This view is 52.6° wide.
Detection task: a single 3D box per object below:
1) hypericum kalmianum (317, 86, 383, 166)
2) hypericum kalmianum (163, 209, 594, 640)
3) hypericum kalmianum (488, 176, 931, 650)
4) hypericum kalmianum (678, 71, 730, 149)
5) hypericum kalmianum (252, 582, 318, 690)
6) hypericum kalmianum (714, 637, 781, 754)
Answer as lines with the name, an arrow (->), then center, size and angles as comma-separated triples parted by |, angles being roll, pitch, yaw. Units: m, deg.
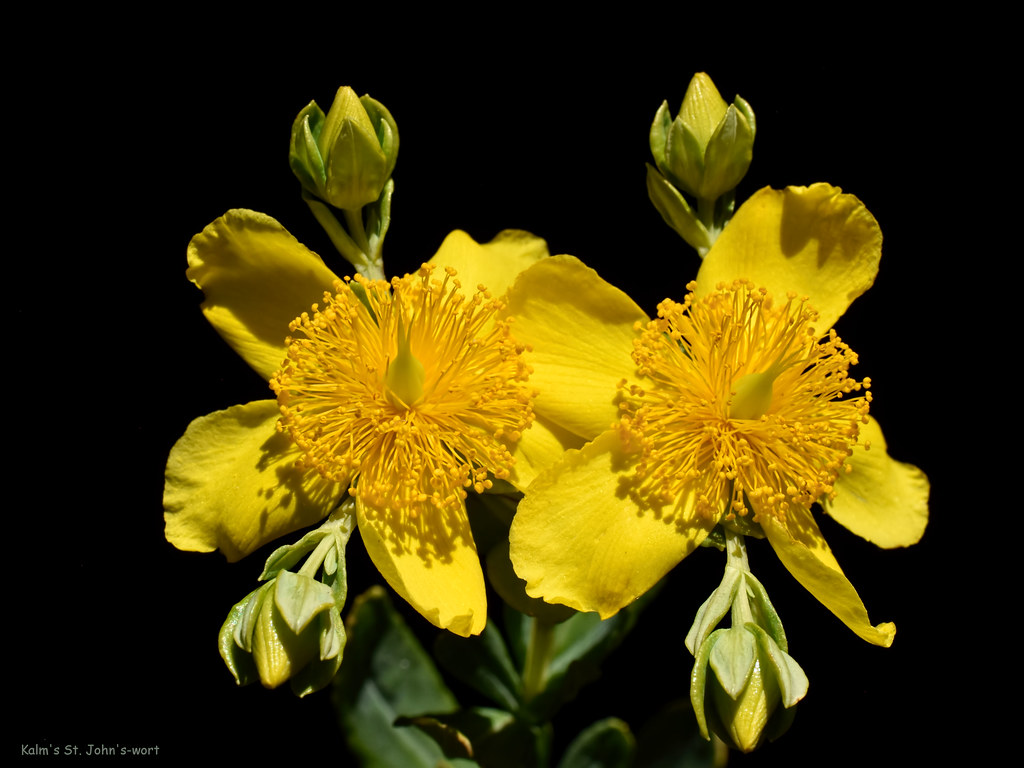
hypericum kalmianum -> -0.343, -0.532, 2.207 | 0.167, 0.199, 0.189 | -8, 14, -10
hypericum kalmianum -> -0.284, 0.147, 2.418 | 0.811, 0.906, 0.375 | 14, -17, 16
hypericum kalmianum -> 0.505, -0.042, 2.313 | 0.943, 0.532, 1.222 | 25, 31, 1
hypericum kalmianum -> 0.416, -0.597, 2.260 | 0.111, 0.145, 0.105 | 2, 23, 11
hypericum kalmianum -> -0.466, 0.510, 1.998 | 0.138, 0.072, 0.225 | -14, 22, -15
hypericum kalmianum -> 0.436, 0.631, 1.995 | 0.116, 0.072, 0.218 | 2, 15, 9
